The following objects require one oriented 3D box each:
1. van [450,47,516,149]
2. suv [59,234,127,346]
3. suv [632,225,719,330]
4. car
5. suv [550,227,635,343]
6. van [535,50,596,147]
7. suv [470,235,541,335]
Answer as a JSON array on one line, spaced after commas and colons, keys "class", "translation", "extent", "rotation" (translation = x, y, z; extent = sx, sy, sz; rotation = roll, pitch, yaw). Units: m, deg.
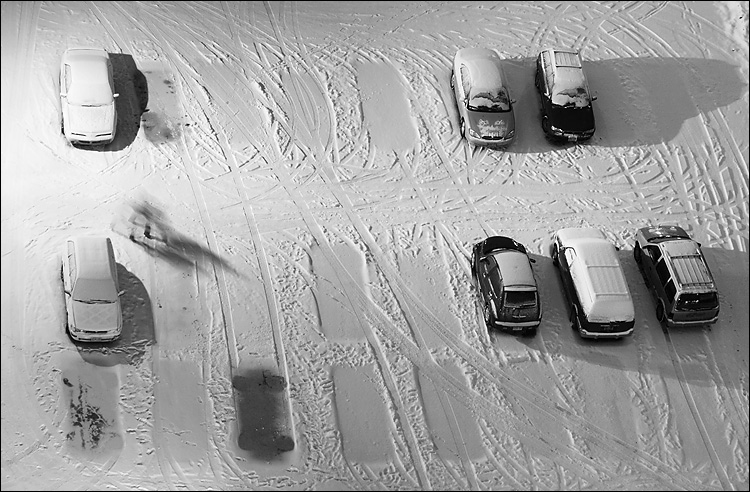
[{"class": "van", "translation": [5.419, -7.398, 37.024], "extent": [2.641, 4.968, 2.040], "rotation": [-4, 8, 8]}, {"class": "suv", "translation": [-12.083, 1.744, 31.695], "extent": [2.163, 1.680, 5.087], "rotation": [1, 40, -31]}, {"class": "suv", "translation": [13.634, 1.078, 33.639], "extent": [2.251, 2.561, 5.904], "rotation": [-1, 40, 1]}, {"class": "car", "translation": [-13.766, -7.230, 35.854], "extent": [2.517, 4.384, 2.088], "rotation": [-6, 8, -6]}, {"class": "suv", "translation": [9.805, 1.312, 33.366], "extent": [2.403, 2.331, 6.220], "rotation": [2, 43, -2]}, {"class": "van", "translation": [9.729, -7.863, 37.716], "extent": [2.368, 2.333, 6.005], "rotation": [4, 50, -1]}, {"class": "suv", "translation": [5.871, 1.260, 33.093], "extent": [2.310, 2.307, 5.389], "rotation": [-1, 40, -5]}]
